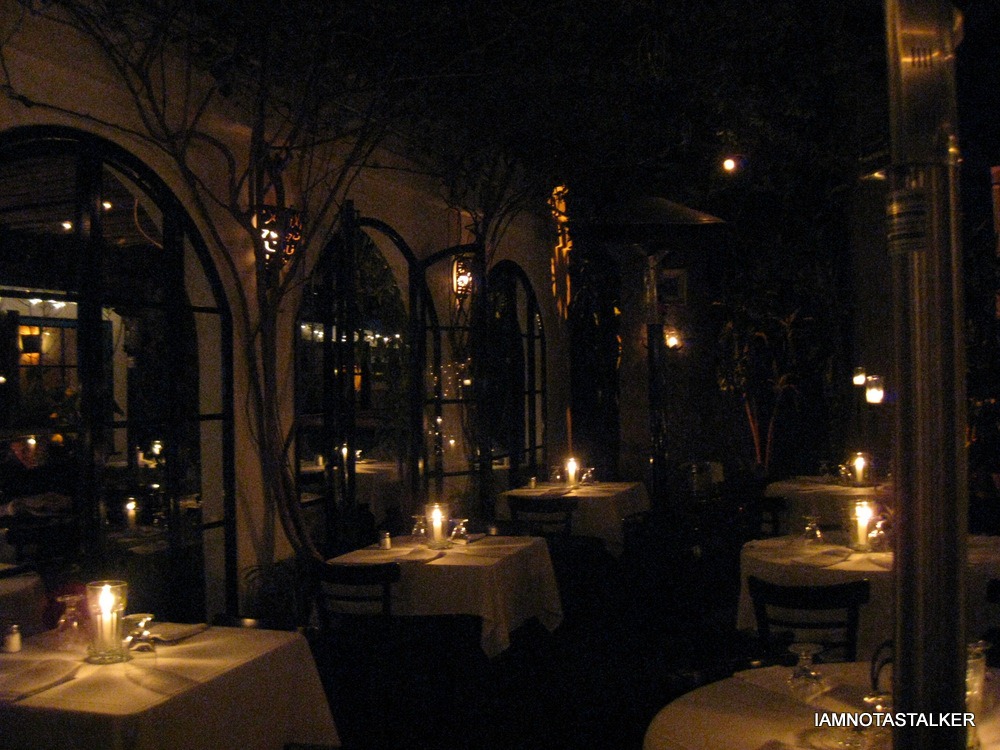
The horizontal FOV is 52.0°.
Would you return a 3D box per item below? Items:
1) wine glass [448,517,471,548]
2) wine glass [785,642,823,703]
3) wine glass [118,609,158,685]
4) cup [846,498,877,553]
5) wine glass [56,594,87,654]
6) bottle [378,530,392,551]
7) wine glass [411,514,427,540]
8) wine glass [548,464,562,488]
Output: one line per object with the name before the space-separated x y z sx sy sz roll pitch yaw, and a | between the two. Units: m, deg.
wine glass | -0.261 1.049 6.811 0.137 0.212 0.145 -1 2 -13
wine glass | 1.193 1.129 4.008 0.127 0.207 0.216 2 5 17
wine glass | -1.656 1.251 4.676 0.184 0.209 0.081 -3 -18 0
cup | 2.130 0.888 6.082 0.218 0.412 0.227 -1 2 0
wine glass | -1.957 1.138 4.692 0.143 0.262 0.106 0 5 -8
bottle | -0.734 1.058 6.595 0.098 0.122 0.106 -1 -1 2
wine glass | -0.565 1.042 7.011 0.117 0.235 0.124 -1 0 -10
wine glass | 0.534 0.957 9.709 0.184 0.234 0.197 -1 2 1
